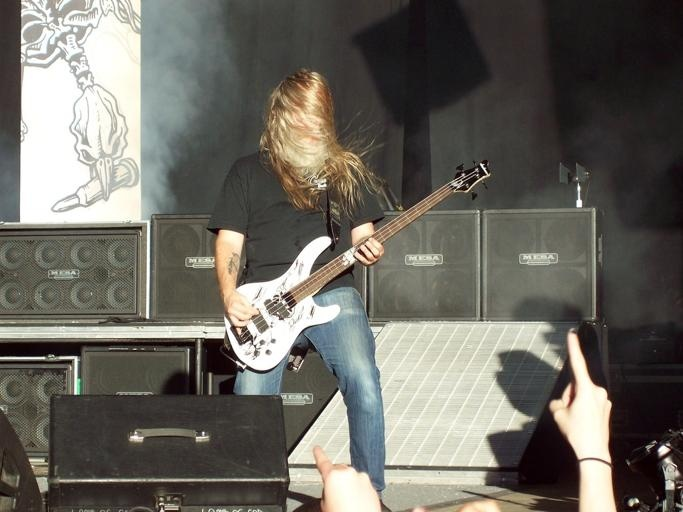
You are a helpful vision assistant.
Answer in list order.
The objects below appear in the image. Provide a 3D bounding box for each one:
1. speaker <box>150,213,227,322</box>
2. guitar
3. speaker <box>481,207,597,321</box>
[{"bbox_3d":[-0.958,0.000,5.685,0.505,0.757,0.418,1,24,-5],"label":"speaker"},{"bbox_3d":[0.148,-0.070,4.442,1.817,0.542,0.185,-38,-5,-6],"label":"guitar"},{"bbox_3d":[1.254,-0.030,5.559,0.716,0.761,0.489,-2,23,8],"label":"speaker"}]
